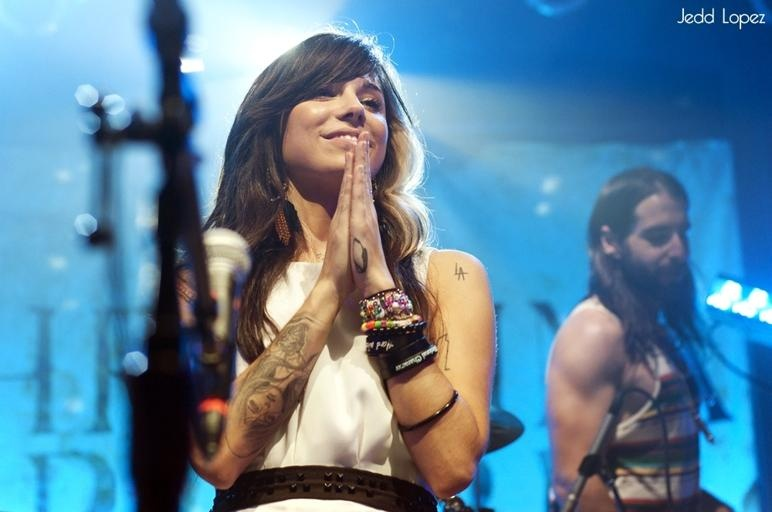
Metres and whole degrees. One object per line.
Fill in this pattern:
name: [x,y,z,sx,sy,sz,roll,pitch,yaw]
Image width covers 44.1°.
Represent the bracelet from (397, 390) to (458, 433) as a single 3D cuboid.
bracelet: [0.214,0.761,4.644,0.287,0.207,0.053,1,-4,4]
